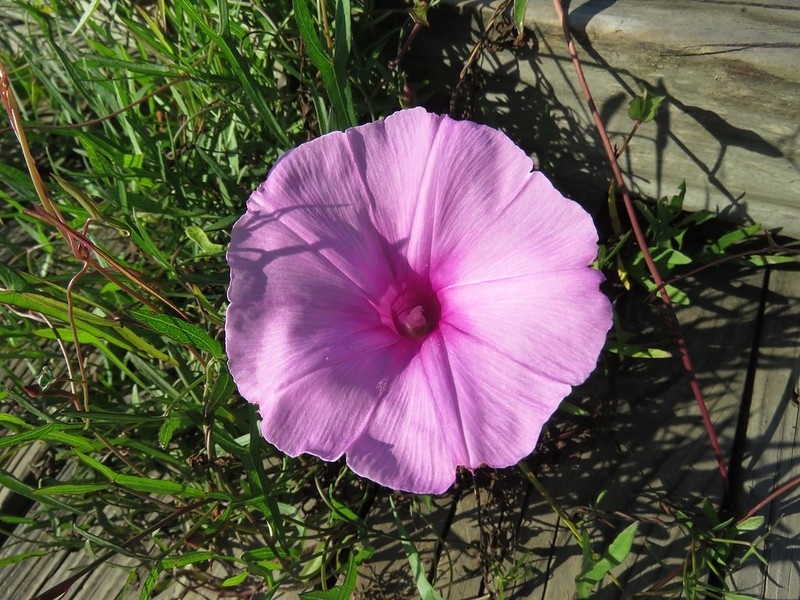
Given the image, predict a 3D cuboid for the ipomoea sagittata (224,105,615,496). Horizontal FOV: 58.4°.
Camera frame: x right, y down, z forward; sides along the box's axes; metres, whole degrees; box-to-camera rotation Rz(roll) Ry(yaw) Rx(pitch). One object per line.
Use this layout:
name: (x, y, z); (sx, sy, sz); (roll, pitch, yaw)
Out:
ipomoea sagittata: (0.026, -0.027, 2.048); (0.420, 0.939, 0.857); (21, 112, 30)
